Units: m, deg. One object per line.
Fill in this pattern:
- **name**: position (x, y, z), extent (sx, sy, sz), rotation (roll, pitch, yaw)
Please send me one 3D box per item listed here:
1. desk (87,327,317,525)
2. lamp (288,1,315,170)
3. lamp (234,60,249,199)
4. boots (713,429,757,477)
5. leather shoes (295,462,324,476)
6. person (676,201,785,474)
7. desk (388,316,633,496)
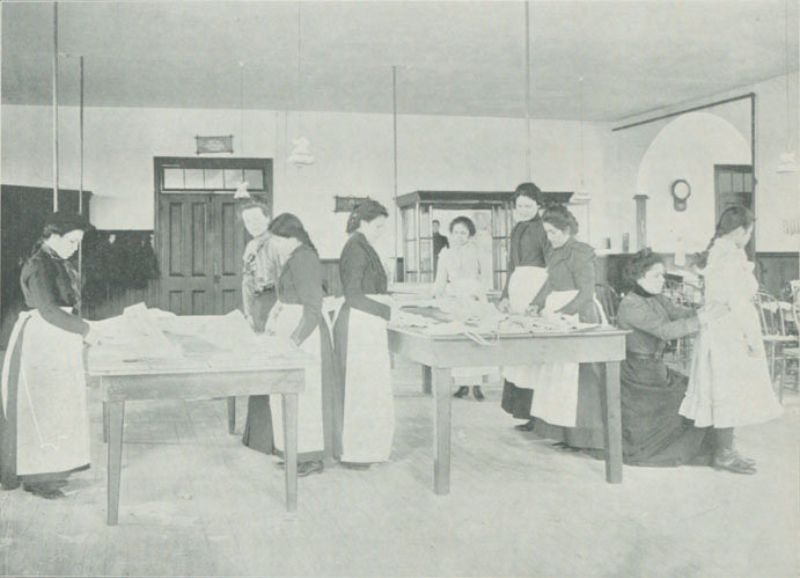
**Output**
- **desk**: position (-1.254, 0.642, 6.209), extent (1.176, 1.024, 1.003), rotation (0, -1, -12)
- **lamp**: position (-0.585, -1.229, 5.953), extent (0.149, 1.012, 0.178), rotation (1, 4, -4)
- **lamp**: position (-0.946, -0.955, 5.923), extent (0.078, 0.822, 0.131), rotation (0, 4, -10)
- **boots**: position (2.059, 1.006, 6.203), extent (0.311, 0.357, 0.177), rotation (0, 0, -2)
- **leather shoes**: position (-0.551, 1.084, 6.035), extent (0.164, 0.076, 0.068), rotation (5, -6, -20)
- **person**: position (2.101, -0.061, 6.360), extent (1.003, 0.395, 0.371), rotation (-42, 37, -18)
- **desk**: position (0.715, 0.446, 6.016), extent (0.944, 0.866, 1.284), rotation (0, -1, -9)
